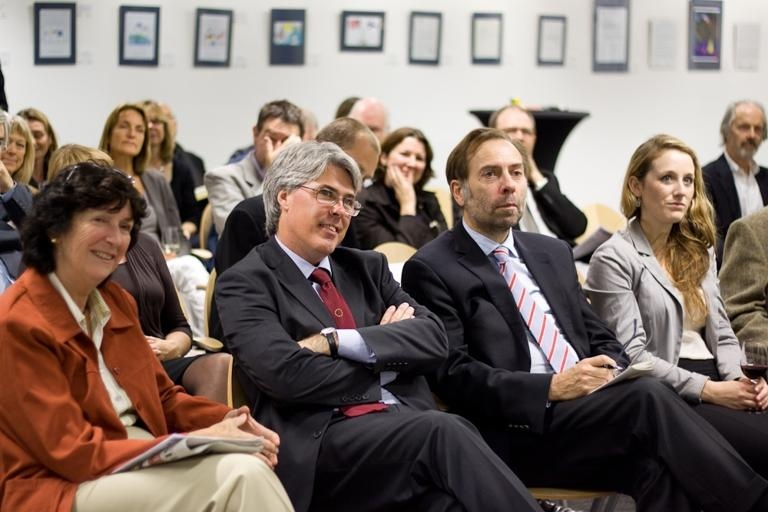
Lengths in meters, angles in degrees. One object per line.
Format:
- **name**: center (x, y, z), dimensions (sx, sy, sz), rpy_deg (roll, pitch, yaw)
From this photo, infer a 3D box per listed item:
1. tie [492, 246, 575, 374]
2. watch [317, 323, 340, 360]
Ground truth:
- **tie**: center (0.685, 0.307, 3.184), dimensions (0.194, 0.784, 0.082), rpy_deg (-18, -16, -32)
- **watch**: center (-0.218, 0.354, 2.627), dimensions (0.071, 0.112, 0.111), rpy_deg (-1, 8, -5)
